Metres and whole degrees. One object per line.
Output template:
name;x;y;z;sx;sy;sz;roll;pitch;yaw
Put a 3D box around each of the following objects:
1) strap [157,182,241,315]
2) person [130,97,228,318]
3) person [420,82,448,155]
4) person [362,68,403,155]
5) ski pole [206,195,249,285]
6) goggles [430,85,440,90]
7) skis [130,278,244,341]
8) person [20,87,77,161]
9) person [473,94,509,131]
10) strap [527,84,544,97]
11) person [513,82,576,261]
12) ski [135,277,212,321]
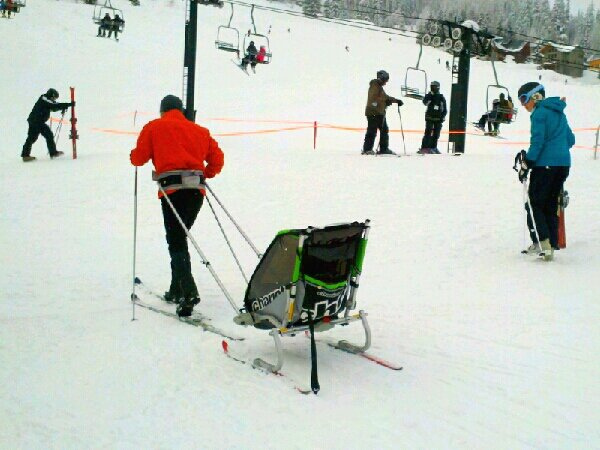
strap;-1.387;0.386;9.449;0.128;0.219;2.630;9;35;-50
person;-1.440;-0.228;8.404;0.817;2.568;0.888;8;15;24
person;3.172;-2.501;16.377;0.544;1.718;0.887;4;14;11
person;1.857;-2.503;15.784;0.774;1.968;1.419;3;14;5
ski pole;-1.140;0.279;10.881;0.082;1.629;0.033;-26;-9;-38
goggles;3.084;-3.151;15.924;0.189;0.100;0.205;10;16;29
skis;-1.369;1.042;8.310;1.222;0.219;0.064;28;-12;11
person;-5.787;-2.243;15.718;1.026;1.672;1.281;-4;15;-22
person;4.918;-2.755;16.974;0.542;0.580;0.926;-6;-5;-12
strap;3.323;-1.900;9.770;0.140;0.052;0.189;-23;-11;-39
person;3.402;-0.753;9.770;0.767;2.399;0.775;7;14;21
ski;-1.572;0.939;8.570;0.132;0.108;1.250;9;11;-46
